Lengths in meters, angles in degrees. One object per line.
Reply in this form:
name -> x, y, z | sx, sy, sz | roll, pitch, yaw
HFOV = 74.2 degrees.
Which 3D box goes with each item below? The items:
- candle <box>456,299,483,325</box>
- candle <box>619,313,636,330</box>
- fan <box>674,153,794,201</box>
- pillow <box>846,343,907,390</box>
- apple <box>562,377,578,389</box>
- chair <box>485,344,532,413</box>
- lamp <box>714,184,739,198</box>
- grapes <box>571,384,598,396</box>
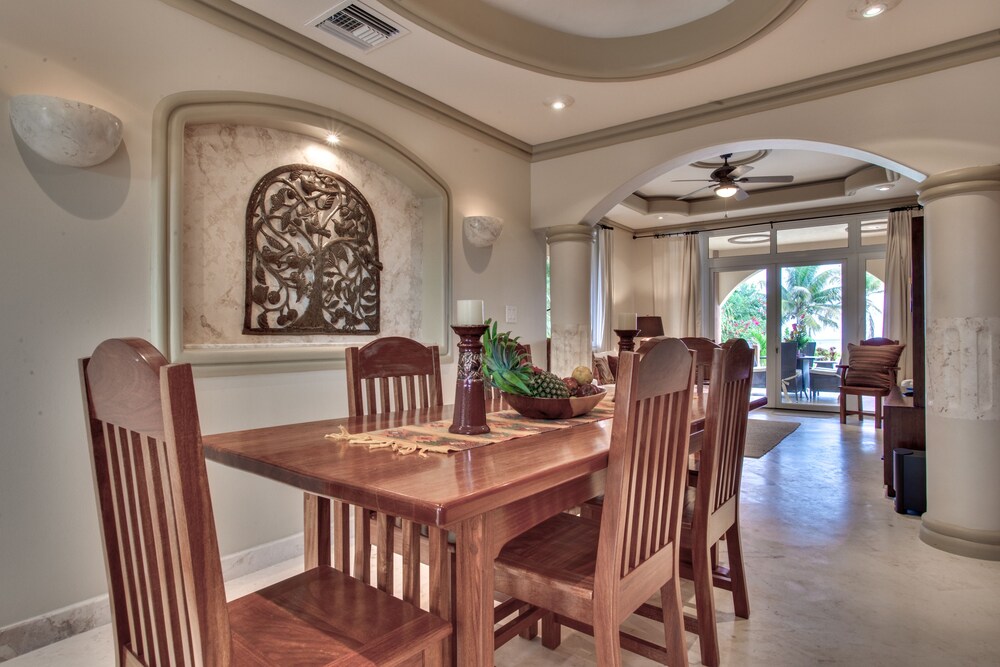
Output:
candle -> -0.132, -0.094, 2.836 | 0.104, 0.077, 0.106 | 0, 1, 2
candle -> 0.727, -0.074, 3.801 | 0.099, 0.097, 0.094 | -1, 3, -29
fan -> 2.454, -1.649, 6.876 | 0.741, 0.297, 0.806 | -3, 4, -32
pillow -> 4.199, 0.364, 7.429 | 0.256, 0.473, 0.466 | 21, -12, -34
apple -> 0.337, 0.239, 3.226 | 0.054, 0.054, 0.054 | 0, 3, -9
chair -> 0.011, 0.243, 3.784 | 0.339, 0.422, 0.287 | -1, 1, -27
lamp -> 2.247, -1.441, 6.626 | 0.165, 0.104, 0.276 | -1, 9, 1
grapes -> 0.406, 0.273, 3.233 | 0.086, 0.033, 0.063 | -5, -2, -9
